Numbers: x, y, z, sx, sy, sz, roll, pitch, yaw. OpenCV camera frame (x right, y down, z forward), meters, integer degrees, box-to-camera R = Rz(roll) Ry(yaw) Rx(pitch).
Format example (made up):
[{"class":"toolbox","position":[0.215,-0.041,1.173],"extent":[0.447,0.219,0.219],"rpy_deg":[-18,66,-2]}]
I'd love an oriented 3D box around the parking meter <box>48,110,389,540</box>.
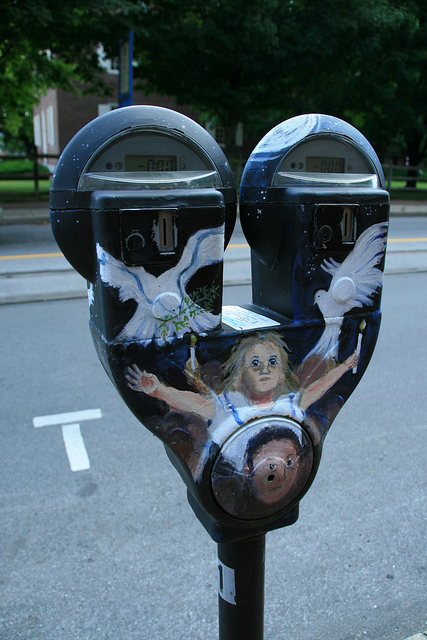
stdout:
[{"class":"parking meter","position":[0.062,0.004,1.694],"extent":[0.782,1.043,0.454],"rpy_deg":[-13,22,-35]}]
